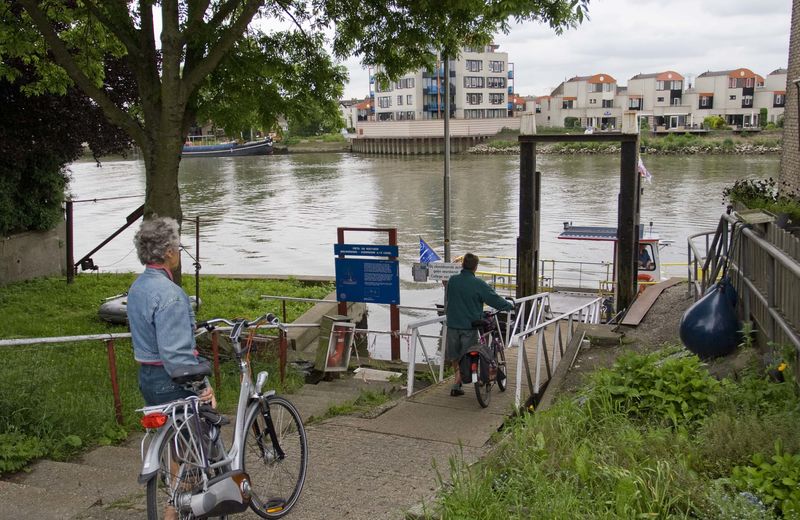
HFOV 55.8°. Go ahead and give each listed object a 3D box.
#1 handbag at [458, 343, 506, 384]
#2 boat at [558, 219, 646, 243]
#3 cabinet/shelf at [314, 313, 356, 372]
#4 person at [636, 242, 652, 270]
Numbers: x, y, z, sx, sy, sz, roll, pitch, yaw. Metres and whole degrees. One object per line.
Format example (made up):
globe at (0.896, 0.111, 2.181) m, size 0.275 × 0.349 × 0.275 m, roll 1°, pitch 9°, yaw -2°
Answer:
handbag at (1.209, 1.511, 11.127) m, size 0.375 × 0.494 × 0.798 m, roll -2°, pitch 8°, yaw 22°
boat at (6.084, -0.848, 24.497) m, size 1.670 × 0.527 × 2.667 m, roll 0°, pitch 6°, yaw 13°
cabinet/shelf at (-1.266, 1.649, 14.563) m, size 0.775 × 1.176 × 0.513 m, roll -4°, pitch 7°, yaw -17°
person at (7.677, -0.080, 23.869) m, size 0.385 × 0.878 × 1.015 m, roll 2°, pitch 8°, yaw 31°
